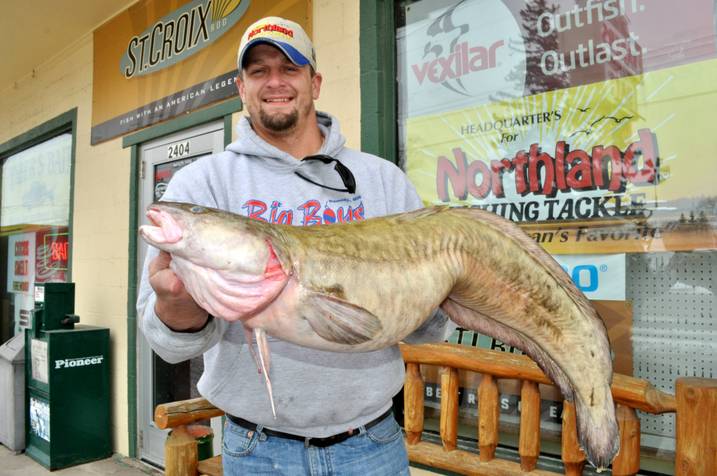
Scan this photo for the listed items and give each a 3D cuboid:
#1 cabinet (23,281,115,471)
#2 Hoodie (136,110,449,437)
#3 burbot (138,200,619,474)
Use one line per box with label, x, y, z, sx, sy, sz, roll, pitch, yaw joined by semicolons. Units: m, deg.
cabinet;-3.498;1.520;7.518;1.115;2.194;0.893;-4;-5;43
Hoodie;-0.298;0.225;3.842;1.491;3.354;0.253;-2;-4;33
burbot;0.112;0.671;4.040;3.504;1.668;1.179;9;-20;-11
